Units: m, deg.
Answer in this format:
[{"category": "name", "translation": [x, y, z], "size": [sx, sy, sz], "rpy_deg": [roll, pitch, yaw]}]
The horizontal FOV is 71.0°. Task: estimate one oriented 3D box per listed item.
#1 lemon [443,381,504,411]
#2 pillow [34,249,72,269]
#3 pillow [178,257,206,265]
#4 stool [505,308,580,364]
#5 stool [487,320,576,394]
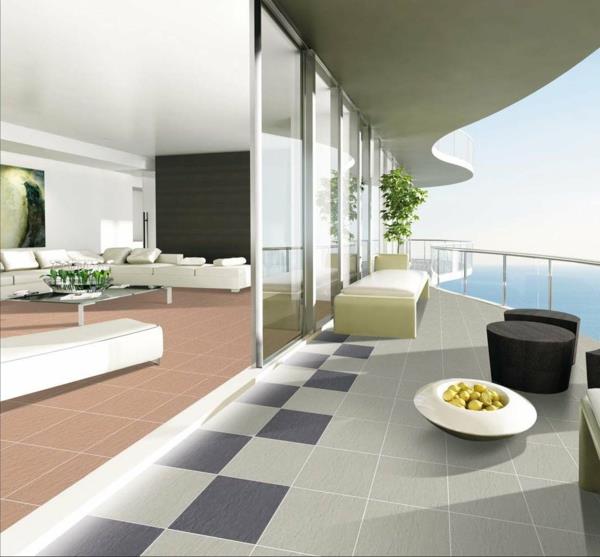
[{"category": "lemon", "translation": [0.889, 0.616, 2.166], "size": [0.282, 0.085, 0.235], "rpy_deg": [5, 8, 37]}, {"category": "pillow", "translation": [-4.505, -0.335, 7.661], "size": [0.528, 0.302, 1.387], "rpy_deg": [-4, 7, -32]}, {"category": "pillow", "translation": [-2.042, -0.310, 8.116], "size": [0.282, 0.106, 0.286], "rpy_deg": [1, 5, 7]}, {"category": "stool", "translation": [2.045, 0.548, 3.621], "size": [0.393, 0.451, 0.710], "rpy_deg": [8, -4, -2]}, {"category": "stool", "translation": [1.561, 0.539, 2.889], "size": [0.415, 0.349, 0.532], "rpy_deg": [-13, 10, -42]}]
